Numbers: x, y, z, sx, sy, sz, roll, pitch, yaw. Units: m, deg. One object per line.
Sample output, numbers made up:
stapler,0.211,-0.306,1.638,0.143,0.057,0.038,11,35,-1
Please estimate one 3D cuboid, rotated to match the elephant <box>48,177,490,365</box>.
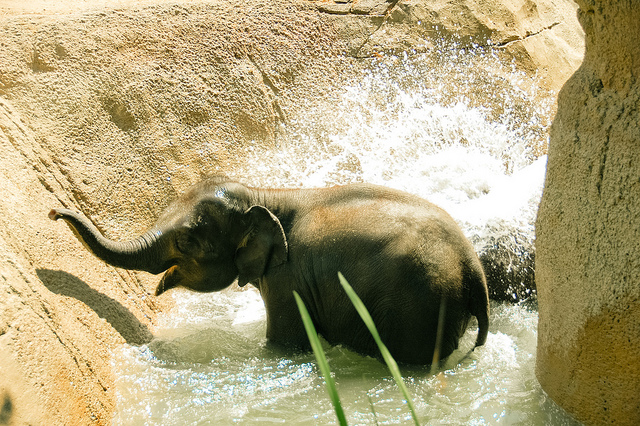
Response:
elephant,-0.228,0.433,7.037,3.239,1.752,1.355,10,7,4
